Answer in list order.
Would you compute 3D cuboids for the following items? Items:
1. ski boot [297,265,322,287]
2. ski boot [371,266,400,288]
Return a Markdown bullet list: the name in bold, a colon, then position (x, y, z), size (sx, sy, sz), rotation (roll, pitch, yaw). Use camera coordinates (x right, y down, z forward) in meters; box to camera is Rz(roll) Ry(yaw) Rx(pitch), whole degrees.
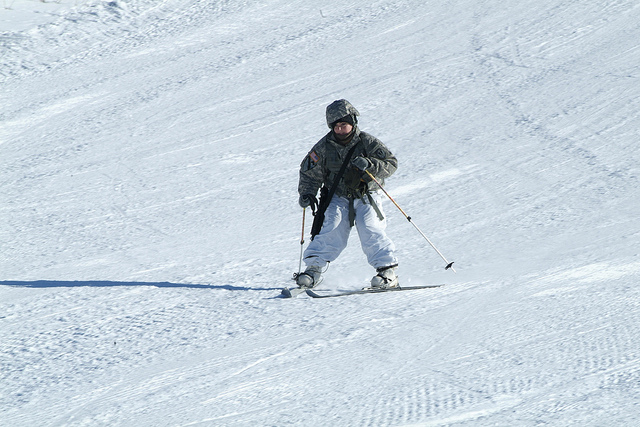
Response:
- **ski boot**: position (-0.138, 0.785, 11.972), size (0.245, 0.213, 0.334), rotation (19, 22, 3)
- **ski boot**: position (0.845, 0.827, 11.937), size (0.372, 0.227, 0.341), rotation (15, 22, 2)
